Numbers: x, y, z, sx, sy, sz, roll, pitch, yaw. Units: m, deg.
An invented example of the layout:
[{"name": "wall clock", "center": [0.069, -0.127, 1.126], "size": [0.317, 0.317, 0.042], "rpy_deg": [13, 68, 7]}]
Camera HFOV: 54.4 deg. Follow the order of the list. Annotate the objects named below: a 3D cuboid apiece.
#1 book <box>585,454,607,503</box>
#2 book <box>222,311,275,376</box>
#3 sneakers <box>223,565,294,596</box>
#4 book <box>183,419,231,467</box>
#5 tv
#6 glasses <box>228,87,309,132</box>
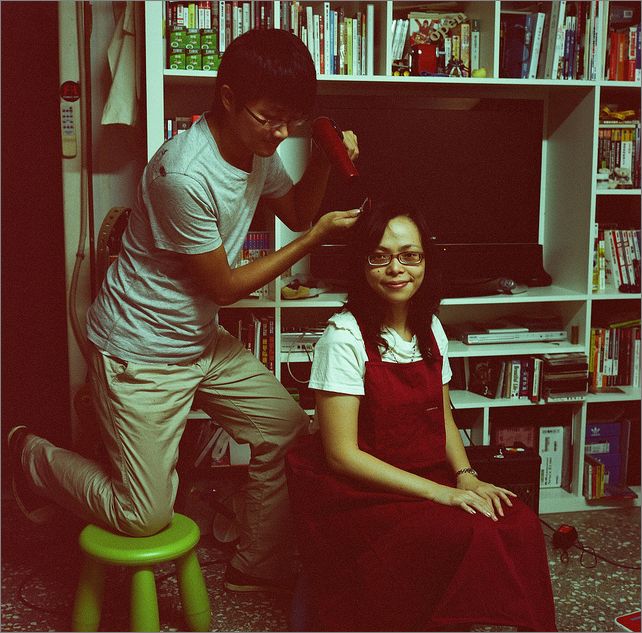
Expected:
[{"name": "book", "center": [1.005, 0.609, 2.304], "size": [0.060, 0.152, 0.166], "rpy_deg": [2, 5, 4]}, {"name": "book", "center": [-0.271, 0.082, 2.298], "size": [0.214, 0.281, 0.238], "rpy_deg": [-2, 4, -22]}, {"name": "sneakers", "center": [-0.166, 0.737, 1.760], "size": [0.207, 0.079, 0.072], "rpy_deg": [1, 0, -4]}, {"name": "book", "center": [-0.406, 0.481, 2.312], "size": [0.138, 0.184, 0.055], "rpy_deg": [31, 9, 23]}, {"name": "tv", "center": [0.348, -0.412, 2.073], "size": [0.805, 0.596, 0.265], "rpy_deg": [0, 8, -6]}, {"name": "glasses", "center": [-0.119, -0.451, 1.367], "size": [0.179, 0.094, 0.054], "rpy_deg": [3, 3, -13]}]
